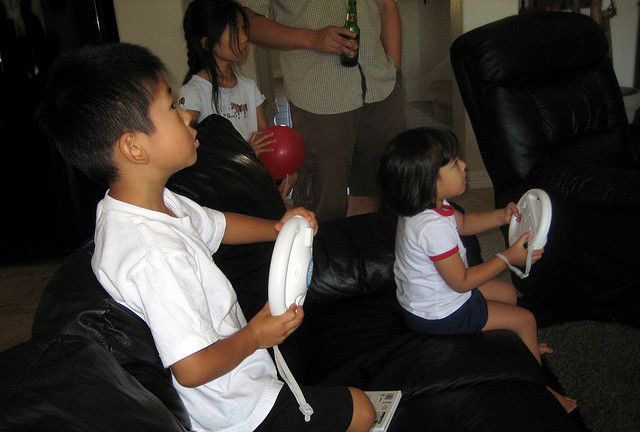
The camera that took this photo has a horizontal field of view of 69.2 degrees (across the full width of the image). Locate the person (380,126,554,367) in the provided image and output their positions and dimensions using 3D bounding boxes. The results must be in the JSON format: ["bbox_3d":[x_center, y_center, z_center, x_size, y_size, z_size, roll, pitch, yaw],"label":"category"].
[{"bbox_3d":[0.588,0.146,1.819,0.593,0.970,0.477,-3,16,16],"label":"person"}]

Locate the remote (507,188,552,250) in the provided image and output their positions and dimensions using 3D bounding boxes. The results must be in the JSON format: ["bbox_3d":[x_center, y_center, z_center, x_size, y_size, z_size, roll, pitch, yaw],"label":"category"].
[{"bbox_3d":[0.773,0.019,1.729,0.078,0.240,0.183,3,39,49],"label":"remote"}]

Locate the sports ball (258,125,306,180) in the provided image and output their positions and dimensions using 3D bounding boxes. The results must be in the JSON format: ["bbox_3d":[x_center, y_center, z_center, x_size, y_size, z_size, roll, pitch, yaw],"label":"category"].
[{"bbox_3d":[-0.190,-0.336,2.334,0.248,0.316,0.258,-2,9,0],"label":"sports ball"}]

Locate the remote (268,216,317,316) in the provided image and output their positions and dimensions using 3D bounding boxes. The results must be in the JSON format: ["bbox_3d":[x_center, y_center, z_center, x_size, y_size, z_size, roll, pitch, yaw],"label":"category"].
[{"bbox_3d":[-0.083,0.132,1.302,0.097,0.241,0.315,4,22,11],"label":"remote"}]
